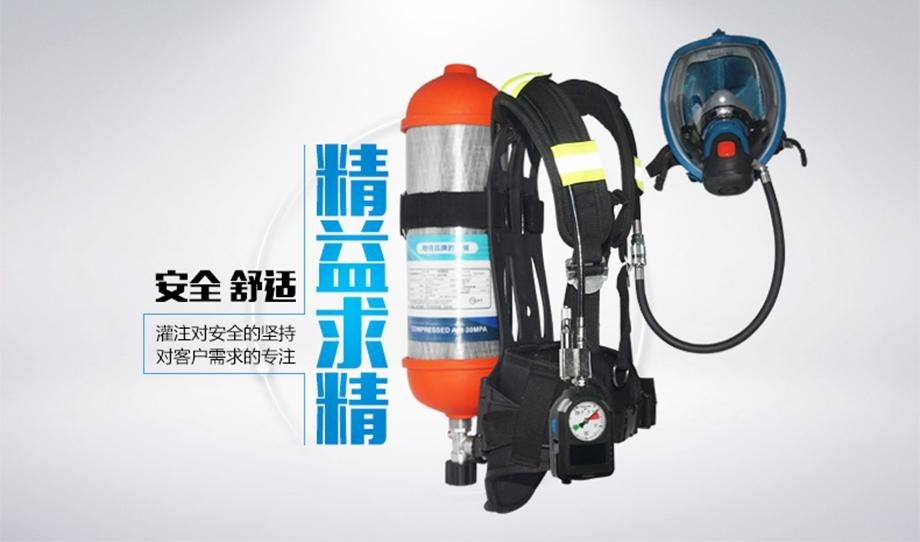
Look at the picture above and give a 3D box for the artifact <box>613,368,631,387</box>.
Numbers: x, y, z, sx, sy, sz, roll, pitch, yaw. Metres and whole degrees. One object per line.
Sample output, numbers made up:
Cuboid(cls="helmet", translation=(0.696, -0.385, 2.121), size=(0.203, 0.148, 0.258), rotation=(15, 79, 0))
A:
Cuboid(cls="artifact", translation=(1.218, 0.800, 7.250), size=(0.135, 0.157, 0.037), rotation=(6, -16, -14))
